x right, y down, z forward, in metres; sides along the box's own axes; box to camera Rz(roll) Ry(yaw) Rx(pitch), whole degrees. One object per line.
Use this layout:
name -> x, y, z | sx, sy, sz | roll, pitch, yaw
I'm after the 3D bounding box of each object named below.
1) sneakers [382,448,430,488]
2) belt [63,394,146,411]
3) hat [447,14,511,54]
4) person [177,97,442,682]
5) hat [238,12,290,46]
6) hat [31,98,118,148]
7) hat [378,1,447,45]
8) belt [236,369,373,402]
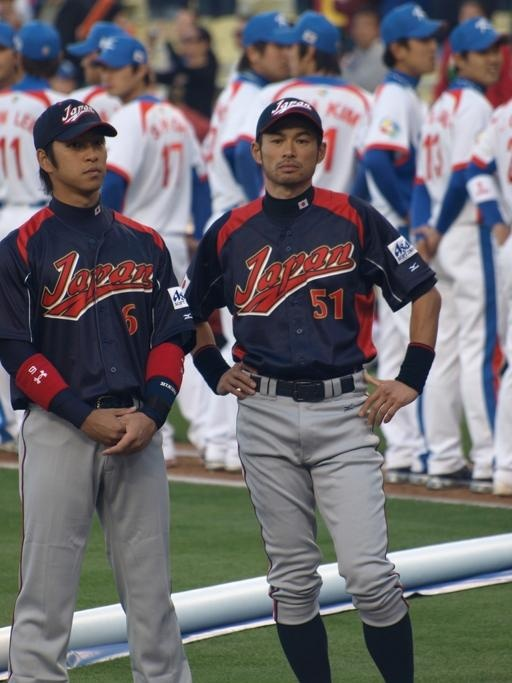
sneakers -> 0.770, 0.654, 5.925 | 0.209, 0.132, 0.172 | 0, -9, 1
belt -> -0.403, 0.166, 3.096 | 0.113, 0.027, 0.082 | -5, -7, 21
hat -> 1.038, -1.416, 5.398 | 0.167, 0.120, 0.226 | -25, 5, -38
person -> 0.108, 0.127, 3.283 | 0.743, 1.619, 0.583 | 0, 12, 16
hat -> 0.052, -1.836, 6.780 | 0.287, 0.142, 0.200 | 2, 12, 25
hat -> -0.517, -0.618, 3.212 | 0.176, 0.119, 0.246 | -14, 5, -42
hat -> 0.753, -1.584, 5.709 | 0.222, 0.196, 0.332 | -7, 12, -20
belt -> 0.125, 0.132, 3.260 | 0.309, 0.070, 0.092 | -1, 12, 9
